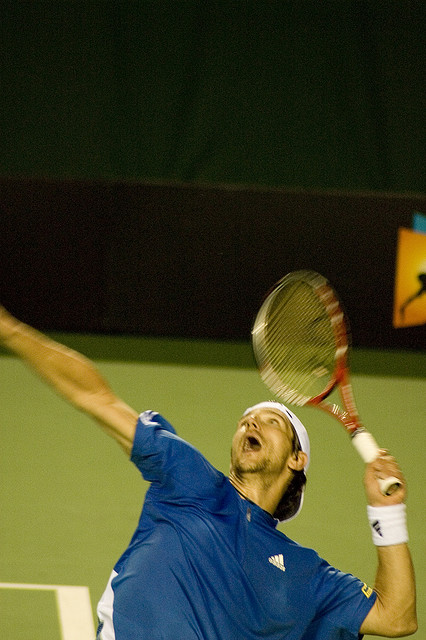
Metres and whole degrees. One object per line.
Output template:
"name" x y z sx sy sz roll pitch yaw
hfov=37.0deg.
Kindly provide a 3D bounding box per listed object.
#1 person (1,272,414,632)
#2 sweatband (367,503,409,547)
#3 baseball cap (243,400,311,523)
"person" 0.005 0.289 1.536 1.022 0.916 0.558 -1 -10 -24
"sweatband" 0.411 0.475 1.479 0.106 0.100 0.089 -13 -20 16
"baseball cap" 0.209 0.402 1.876 0.253 0.320 0.126 4 6 27
